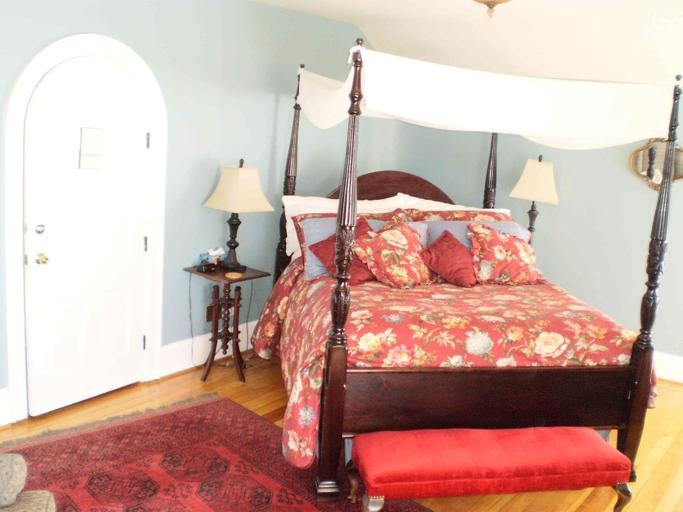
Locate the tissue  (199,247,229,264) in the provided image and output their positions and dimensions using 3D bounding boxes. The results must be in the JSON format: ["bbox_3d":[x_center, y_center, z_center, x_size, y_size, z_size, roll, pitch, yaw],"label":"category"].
[{"bbox_3d":[-0.978,-0.009,4.328,0.109,0.071,0.180,3,10,17],"label":"tissue "}]

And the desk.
[{"bbox_3d":[-0.917,0.559,4.367,0.591,0.910,0.615,19,24,39],"label":"desk"}]

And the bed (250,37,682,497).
[{"bbox_3d":[0.656,-0.001,3.956,2.289,2.318,2.788,-2,10,-12],"label":"bed"}]
